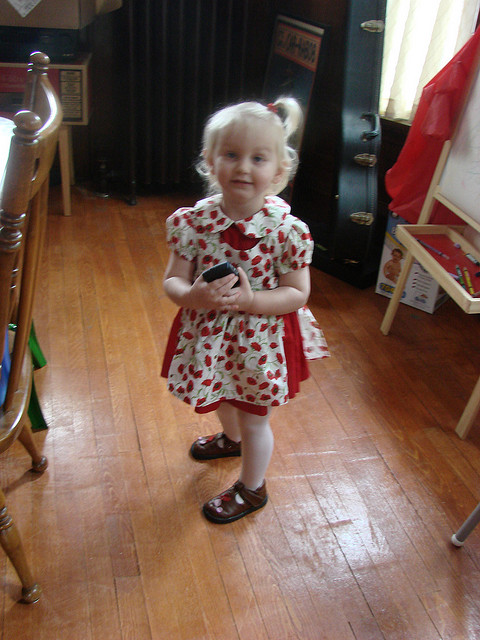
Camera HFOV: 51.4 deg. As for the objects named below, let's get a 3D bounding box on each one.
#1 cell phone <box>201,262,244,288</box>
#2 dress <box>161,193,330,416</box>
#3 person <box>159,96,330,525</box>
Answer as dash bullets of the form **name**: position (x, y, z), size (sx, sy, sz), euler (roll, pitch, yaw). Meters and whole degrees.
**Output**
- **cell phone**: position (-0.025, -0.073, 0.823), size (0.064, 0.051, 0.036), euler (-10, 30, -28)
- **dress**: position (0.015, -0.017, 0.997), size (0.294, 0.365, 0.237), euler (7, 12, 16)
- **person**: position (-0.006, 0.039, 1.042), size (0.304, 0.922, 0.293), euler (-10, 30, -27)
